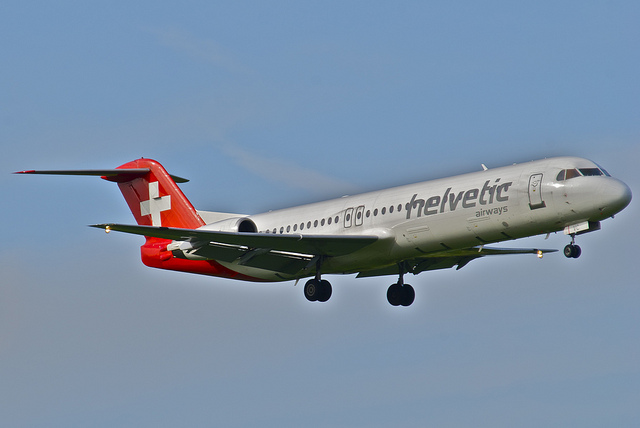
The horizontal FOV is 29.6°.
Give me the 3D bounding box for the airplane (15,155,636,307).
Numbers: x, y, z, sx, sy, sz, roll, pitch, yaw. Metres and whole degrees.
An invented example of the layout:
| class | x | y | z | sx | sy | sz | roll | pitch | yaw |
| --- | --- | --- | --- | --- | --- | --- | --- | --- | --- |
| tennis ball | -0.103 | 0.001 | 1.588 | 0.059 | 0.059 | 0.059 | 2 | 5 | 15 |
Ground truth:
| class | x | y | z | sx | sy | sz | roll | pitch | yaw |
| --- | --- | --- | --- | --- | --- | --- | --- | --- | --- |
| airplane | 1.736 | 0.252 | 35.364 | 9.245 | 8.469 | 2.232 | -11 | -95 | 32 |
